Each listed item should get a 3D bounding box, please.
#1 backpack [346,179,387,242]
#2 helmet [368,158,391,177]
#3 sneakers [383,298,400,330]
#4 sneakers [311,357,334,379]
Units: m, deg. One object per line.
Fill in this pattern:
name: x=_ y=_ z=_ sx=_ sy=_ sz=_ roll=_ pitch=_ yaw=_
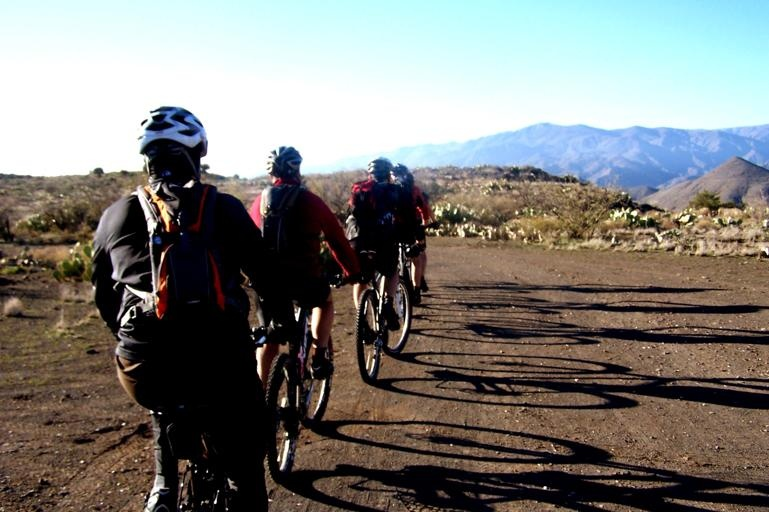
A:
backpack: x=-0.221 y=-0.588 z=7.823 sx=0.528 sy=0.768 sz=0.329 roll=6 pitch=-10 yaw=16
helmet: x=-0.040 y=-1.244 z=8.198 sx=0.238 sy=0.258 sz=0.309 roll=12 pitch=18 yaw=36
sneakers: x=0.096 y=0.808 z=7.923 sx=0.102 sy=0.417 sz=0.227 roll=-6 pitch=3 yaw=42
sneakers: x=-0.671 y=1.216 z=6.259 sx=0.212 sy=0.174 sz=0.226 roll=3 pitch=-4 yaw=-15
